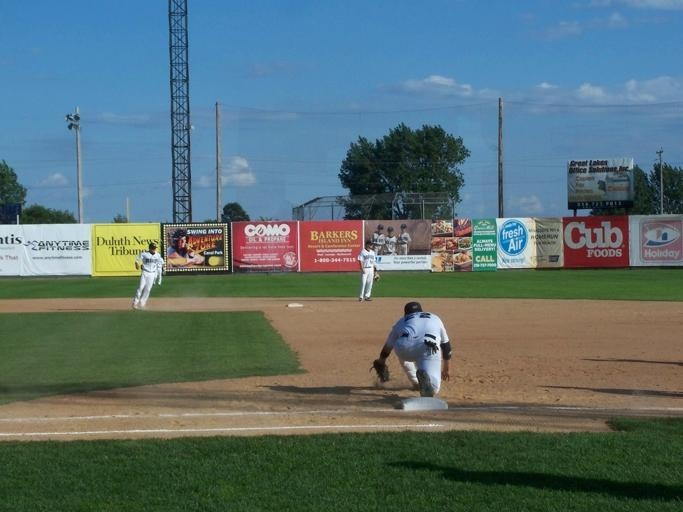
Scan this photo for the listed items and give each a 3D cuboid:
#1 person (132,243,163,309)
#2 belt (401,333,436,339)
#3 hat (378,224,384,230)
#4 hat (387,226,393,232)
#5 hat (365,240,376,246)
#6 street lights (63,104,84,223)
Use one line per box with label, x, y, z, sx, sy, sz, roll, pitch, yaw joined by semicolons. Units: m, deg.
person;-6.028;0.583;40.555;0.850;2.082;0.783;14;13;-1
belt;1.726;1.763;28.838;0.756;0.116;0.117;0;2;12
hat;1.709;-1.255;55.613;0.200;0.122;0.252;-10;2;-17
hat;2.233;-1.219;57.984;0.188;0.214;0.221;1;-12;-8
hat;0.944;-0.413;42.011;0.276;0.250;0.501;-1;1;-5
street lights;-12.449;-4.911;61.061;0.685;3.669;0.679;-4;1;-31
